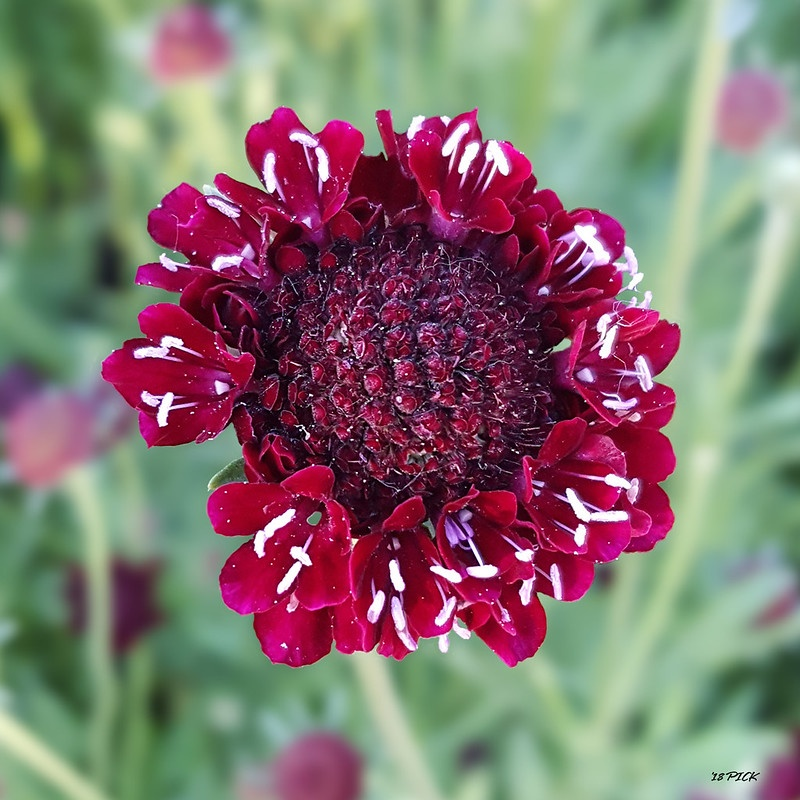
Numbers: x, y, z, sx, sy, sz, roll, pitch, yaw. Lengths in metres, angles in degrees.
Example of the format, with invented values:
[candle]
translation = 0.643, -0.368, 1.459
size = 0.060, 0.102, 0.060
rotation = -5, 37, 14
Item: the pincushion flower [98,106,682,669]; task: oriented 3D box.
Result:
[pincushion flower]
translation = 0.152, -0.062, 1.814
size = 0.883, 0.925, 1.193
rotation = -27, 40, -35
